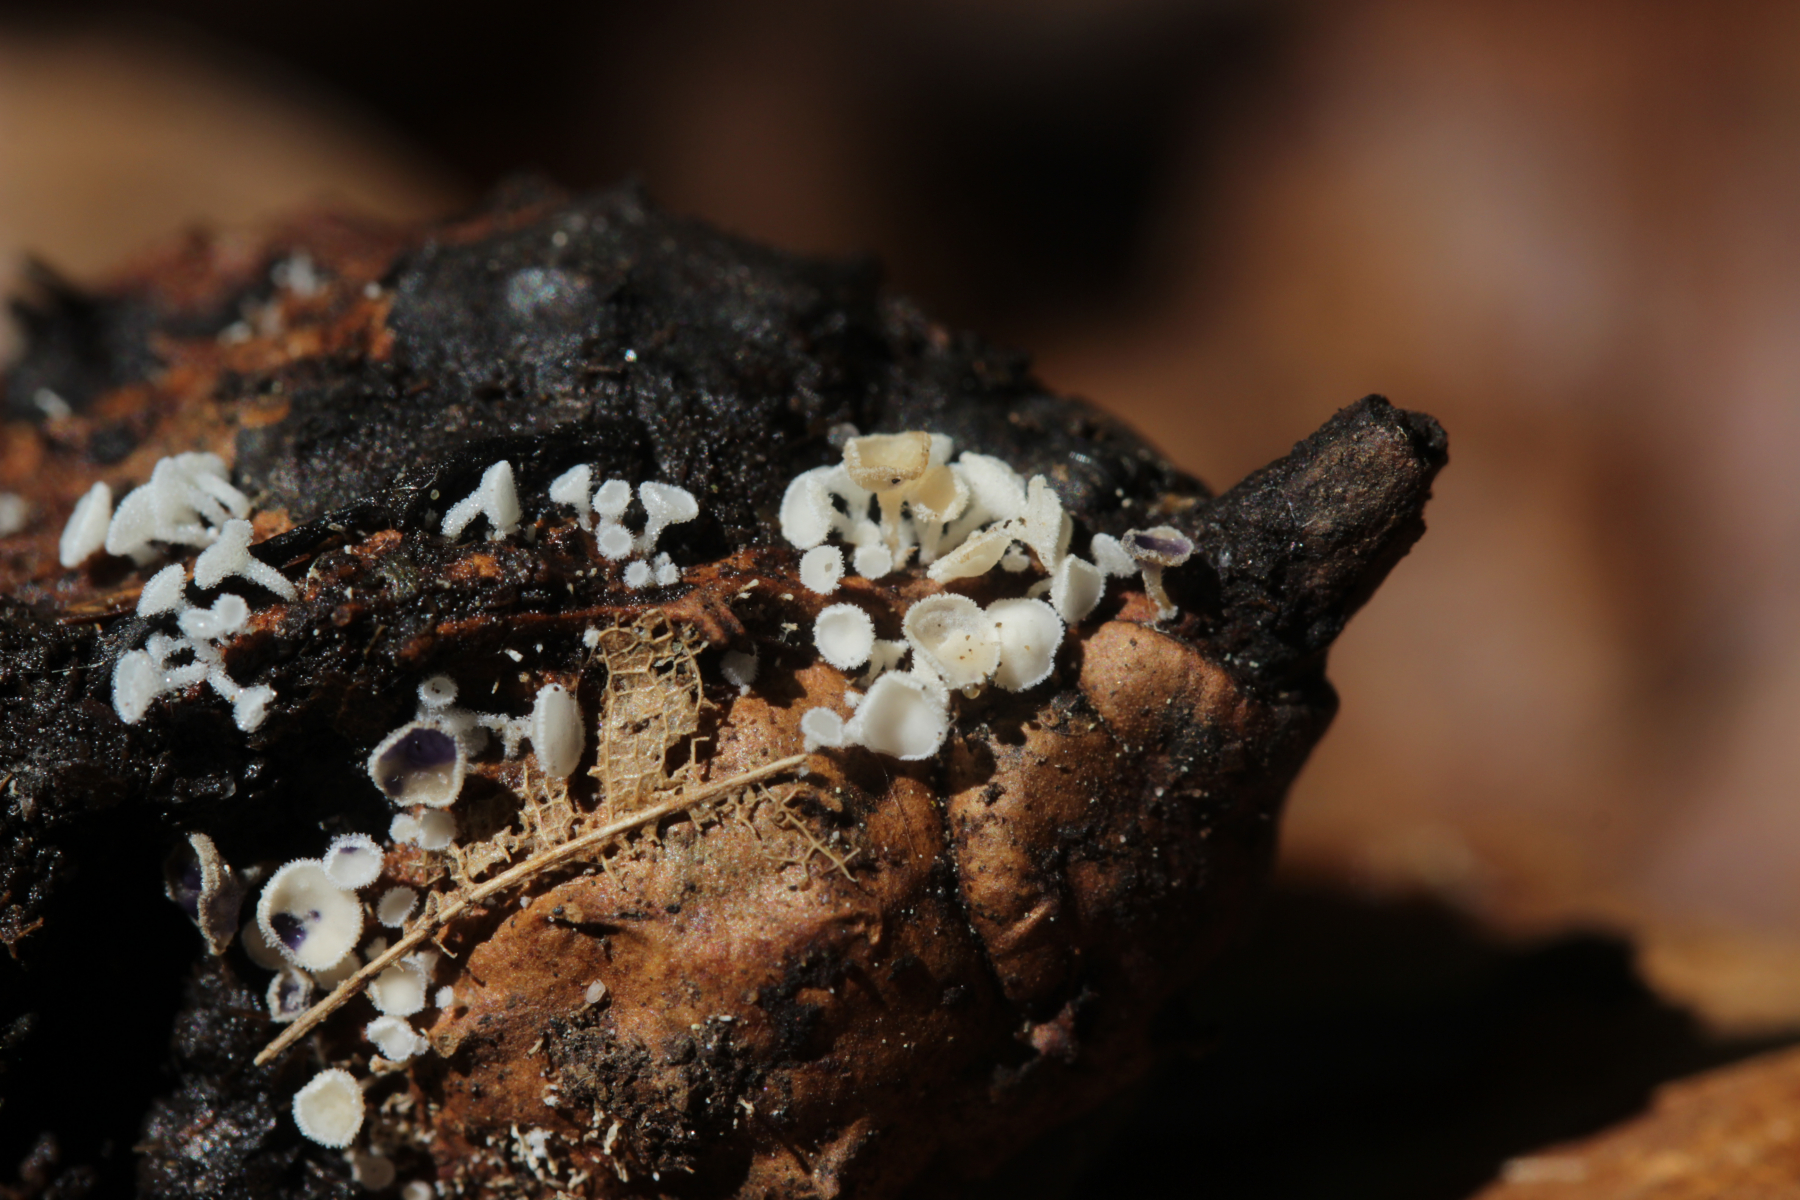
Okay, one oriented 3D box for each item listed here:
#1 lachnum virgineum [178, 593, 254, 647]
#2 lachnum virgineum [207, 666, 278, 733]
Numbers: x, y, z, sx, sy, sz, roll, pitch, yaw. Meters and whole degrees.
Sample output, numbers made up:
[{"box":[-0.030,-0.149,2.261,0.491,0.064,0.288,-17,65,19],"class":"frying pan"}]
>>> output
[{"box":[-2.735,0.071,7.715,0.288,0.172,0.116,7,17,5],"class":"lachnum virgineum"},{"box":[-2.633,0.395,7.710,0.261,0.241,0.080,10,17,13],"class":"lachnum virgineum"}]
